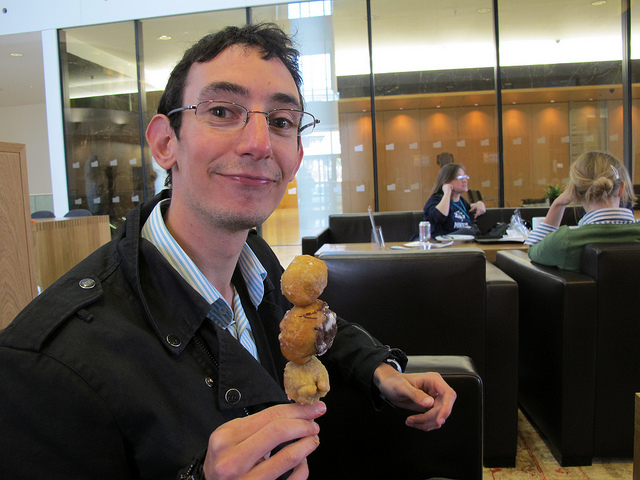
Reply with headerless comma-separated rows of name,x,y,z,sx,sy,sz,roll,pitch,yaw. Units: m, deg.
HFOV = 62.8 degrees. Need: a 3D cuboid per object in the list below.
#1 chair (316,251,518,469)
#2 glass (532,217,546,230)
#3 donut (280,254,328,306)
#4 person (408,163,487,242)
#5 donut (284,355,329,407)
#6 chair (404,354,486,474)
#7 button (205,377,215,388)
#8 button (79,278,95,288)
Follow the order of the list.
chair,0.481,0.482,2.665,0.812,0.946,0.840,-1,9,-1
glass,1.486,-0.113,3.572,0.092,0.101,0.094,-3,-29,17
donut,-0.039,0.109,1.351,0.109,0.144,0.152,-3,5,1
person,1.248,-0.209,5.082,0.658,1.044,0.685,-2,-2,17
donut,-0.037,0.343,1.264,0.084,0.097,0.118,3,-7,-12
chair,0.410,0.597,1.762,0.220,0.383,0.427,-2,0,7
button,-0.291,0.376,1.383,0.024,0.024,0.011,-4,5,-14
button,-0.602,0.112,1.354,0.036,0.020,0.022,-5,5,-18
